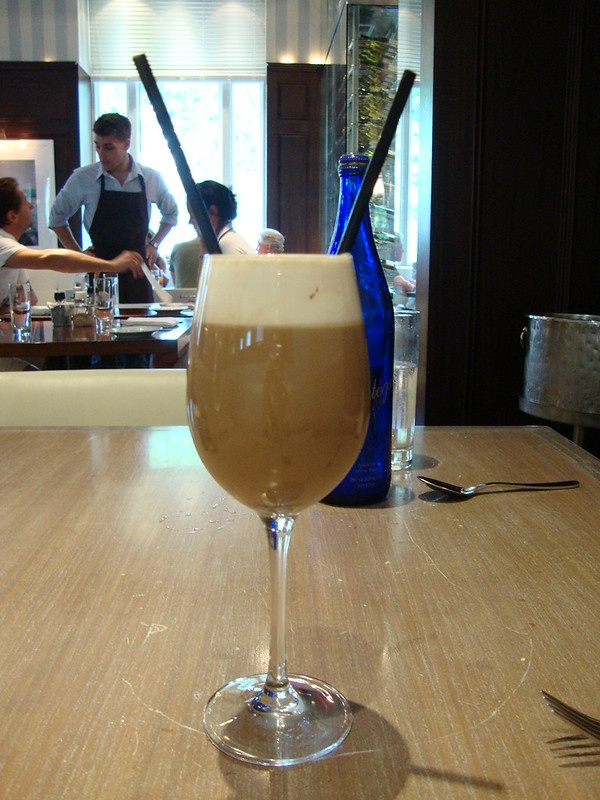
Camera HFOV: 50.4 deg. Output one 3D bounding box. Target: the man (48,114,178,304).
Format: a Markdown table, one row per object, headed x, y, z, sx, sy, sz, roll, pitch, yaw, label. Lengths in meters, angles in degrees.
| x | y | z | sx | sy | sz | roll | pitch | yaw | label |
| --- | --- | --- | --- | --- | --- | --- | --- | --- | --- |
| -1.339 | -1.026 | 4.762 | 0.962 | 1.938 | 0.478 | -8 | 17 | -26 | man |
